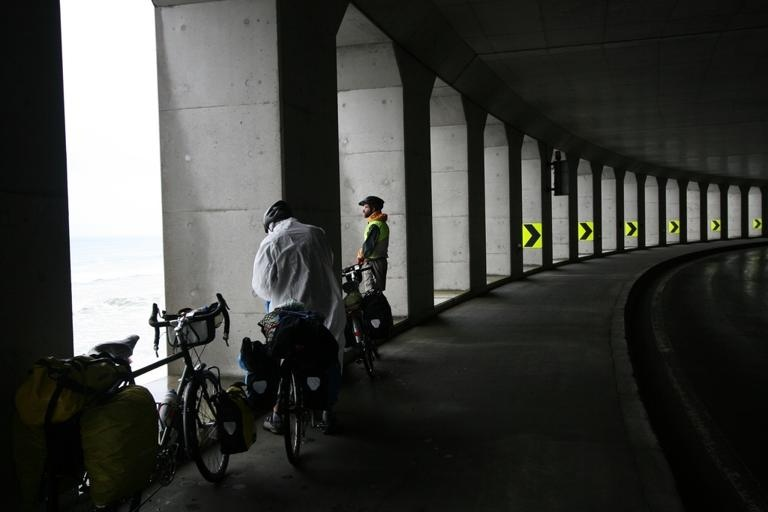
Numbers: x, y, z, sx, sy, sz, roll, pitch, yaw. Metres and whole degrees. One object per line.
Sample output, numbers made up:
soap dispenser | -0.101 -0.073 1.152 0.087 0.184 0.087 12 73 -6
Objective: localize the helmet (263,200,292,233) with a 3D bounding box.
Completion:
helmet | -1.137 -0.427 6.814 0.328 0.304 0.254 -2 19 20

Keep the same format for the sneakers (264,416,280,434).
sneakers | -1.122 1.672 6.567 0.117 0.161 0.369 3 -4 -10

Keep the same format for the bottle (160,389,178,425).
bottle | -1.843 1.280 5.596 0.081 0.217 0.160 19 -19 -40

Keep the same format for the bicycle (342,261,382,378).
bicycle | -0.296 0.847 8.472 0.471 1.364 1.072 -1 10 -3

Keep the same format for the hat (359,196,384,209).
hat | -0.177 -0.796 9.239 0.299 0.148 0.203 8 3 10
